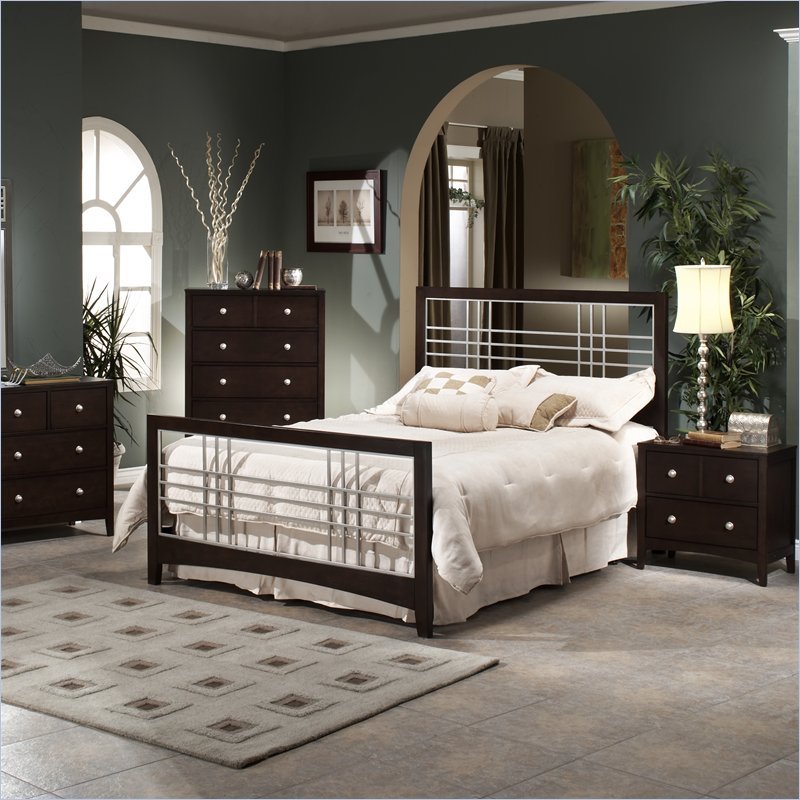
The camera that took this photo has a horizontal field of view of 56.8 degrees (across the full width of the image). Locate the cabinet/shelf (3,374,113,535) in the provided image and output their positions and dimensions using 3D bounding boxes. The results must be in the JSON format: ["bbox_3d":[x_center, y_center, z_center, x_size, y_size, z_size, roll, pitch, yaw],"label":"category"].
[{"bbox_3d":[-2.080,0.298,4.460,0.945,0.987,0.455,-1,1,-44],"label":"cabinet/shelf"}]

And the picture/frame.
[{"bbox_3d":[-0.449,-1.593,6.154,0.706,0.676,0.059,3,5,32],"label":"picture/frame"}]

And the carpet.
[{"bbox_3d":[-0.784,0.852,2.617,1.851,0.136,1.181,1,2,39],"label":"carpet"}]

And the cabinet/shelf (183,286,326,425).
[{"bbox_3d":[-1.085,-0.345,5.434,0.929,1.215,0.459,0,0,-1],"label":"cabinet/shelf"}]

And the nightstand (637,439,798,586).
[{"bbox_3d":[1.662,0.447,4.099,0.903,0.912,0.634,1,1,41],"label":"nightstand"}]

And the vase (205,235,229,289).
[{"bbox_3d":[-1.520,-1.156,6.182,0.179,0.438,0.260,-1,2,-19],"label":"vase"}]

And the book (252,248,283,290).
[{"bbox_3d":[-1.054,-1.053,5.893,0.120,0.424,0.299,6,-2,-38],"label":"book"}]

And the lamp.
[{"bbox_3d":[1.642,-0.292,4.002,0.278,0.958,0.410,0,2,25],"label":"lamp"}]
